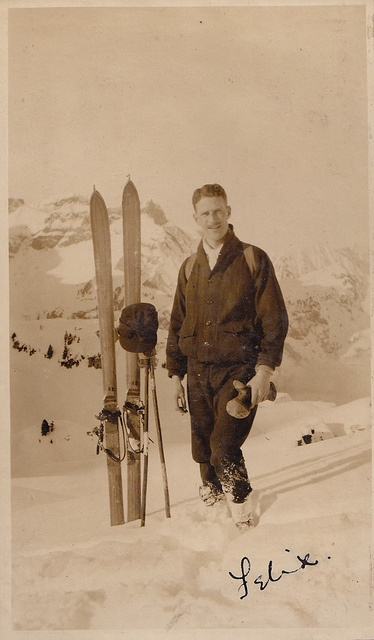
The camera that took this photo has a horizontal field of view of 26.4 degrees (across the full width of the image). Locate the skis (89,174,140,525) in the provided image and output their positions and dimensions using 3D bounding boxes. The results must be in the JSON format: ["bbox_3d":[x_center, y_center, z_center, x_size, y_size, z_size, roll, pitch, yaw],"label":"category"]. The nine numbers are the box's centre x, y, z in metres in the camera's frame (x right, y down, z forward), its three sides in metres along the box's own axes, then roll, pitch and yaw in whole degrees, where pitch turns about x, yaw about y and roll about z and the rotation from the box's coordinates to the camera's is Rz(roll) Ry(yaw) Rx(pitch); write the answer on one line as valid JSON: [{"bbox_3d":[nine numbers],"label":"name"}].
[{"bbox_3d":[-0.278,0.131,3.404,0.246,1.454,0.195,-4,3,-3],"label":"skis"}]

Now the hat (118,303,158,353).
[{"bbox_3d":[-0.198,0.036,3.420,0.170,0.209,0.061,3,1,8],"label":"hat"}]

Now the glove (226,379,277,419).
[{"bbox_3d":[0.259,0.321,3.266,0.148,0.055,0.141,17,46,5],"label":"glove"}]
